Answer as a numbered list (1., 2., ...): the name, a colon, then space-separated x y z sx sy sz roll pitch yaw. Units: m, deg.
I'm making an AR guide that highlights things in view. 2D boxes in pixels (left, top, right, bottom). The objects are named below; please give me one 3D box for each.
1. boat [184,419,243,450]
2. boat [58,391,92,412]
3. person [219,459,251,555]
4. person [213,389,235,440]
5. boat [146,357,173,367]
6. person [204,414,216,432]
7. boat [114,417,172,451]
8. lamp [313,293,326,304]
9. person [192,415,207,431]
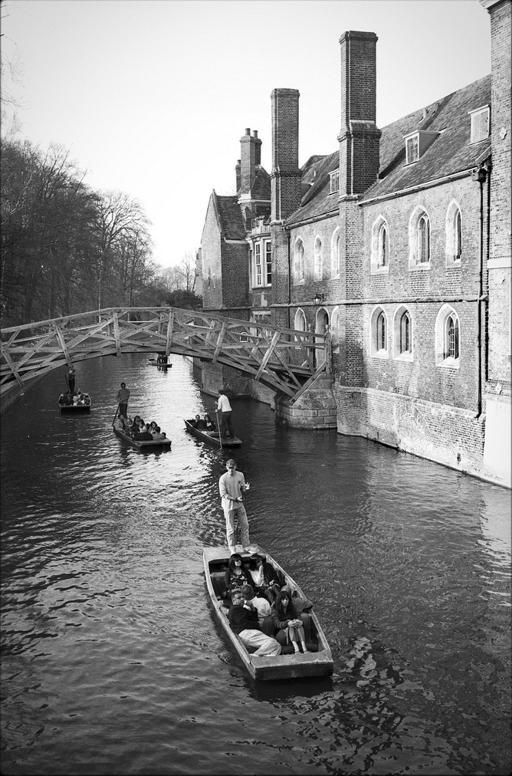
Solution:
1. boat: -1.470 1.561 22.155 0.688 0.458 3.151 -3 11 -22
2. boat: -7.624 0.651 29.066 1.261 0.695 1.929 -2 5 -21
3. person: -0.350 1.913 11.358 0.466 1.518 0.934 0 4 -3
4. person: -0.961 0.806 21.428 0.467 1.508 1.379 0 4 -4
5. boat: -8.060 -2.117 57.561 1.012 0.653 5.426 0 9 -18
6. person: -1.606 1.225 23.779 0.398 0.493 1.119 -1 3 -23
7. boat: -3.742 1.441 22.121 0.828 0.519 3.365 -2 12 -19
8. lamp: 2.355 -3.289 25.572 0.328 0.345 0.328 -1 6 12
9. person: -1.943 1.227 23.736 0.290 0.390 1.087 4 -15 -7
